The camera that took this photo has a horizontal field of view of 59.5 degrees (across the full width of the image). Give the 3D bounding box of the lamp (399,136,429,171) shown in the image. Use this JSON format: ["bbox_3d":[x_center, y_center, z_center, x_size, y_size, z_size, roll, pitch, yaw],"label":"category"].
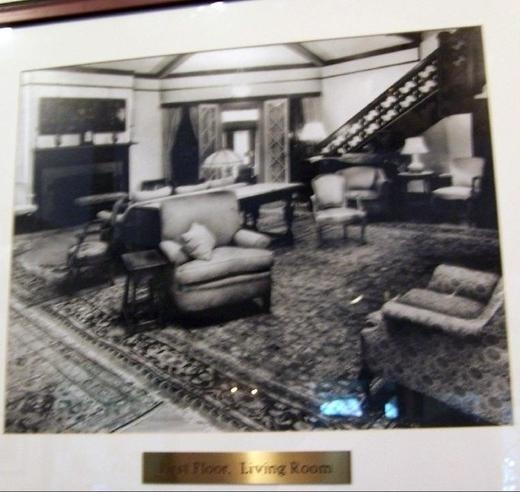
[{"bbox_3d":[0.628,-0.373,1.871,0.134,0.146,0.131,-3,-2,0],"label":"lamp"}]
